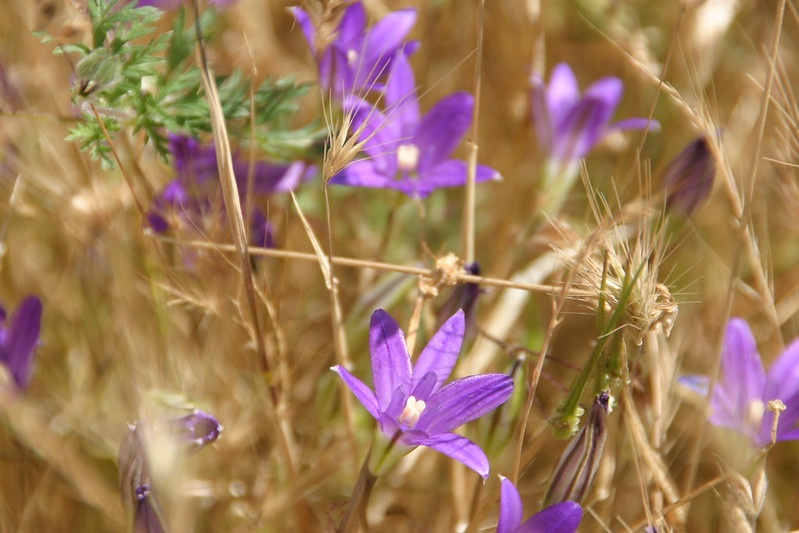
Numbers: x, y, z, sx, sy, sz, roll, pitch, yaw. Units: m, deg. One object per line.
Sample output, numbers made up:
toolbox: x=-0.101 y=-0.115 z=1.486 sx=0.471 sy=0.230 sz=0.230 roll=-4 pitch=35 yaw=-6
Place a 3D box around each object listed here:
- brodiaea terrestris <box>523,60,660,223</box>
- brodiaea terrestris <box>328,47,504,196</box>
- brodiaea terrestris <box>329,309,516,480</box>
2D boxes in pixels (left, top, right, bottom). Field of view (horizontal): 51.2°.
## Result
brodiaea terrestris: x=0.407 y=-0.277 z=1.811 sx=0.191 sy=0.281 sz=0.254 roll=21 pitch=18 yaw=-30
brodiaea terrestris: x=0.013 y=-0.263 z=1.538 sx=0.302 sy=0.236 sz=0.257 roll=-8 pitch=36 yaw=-15
brodiaea terrestris: x=0.044 y=0.194 z=1.364 sx=0.278 sy=0.219 sz=0.207 roll=10 pitch=35 yaw=10
